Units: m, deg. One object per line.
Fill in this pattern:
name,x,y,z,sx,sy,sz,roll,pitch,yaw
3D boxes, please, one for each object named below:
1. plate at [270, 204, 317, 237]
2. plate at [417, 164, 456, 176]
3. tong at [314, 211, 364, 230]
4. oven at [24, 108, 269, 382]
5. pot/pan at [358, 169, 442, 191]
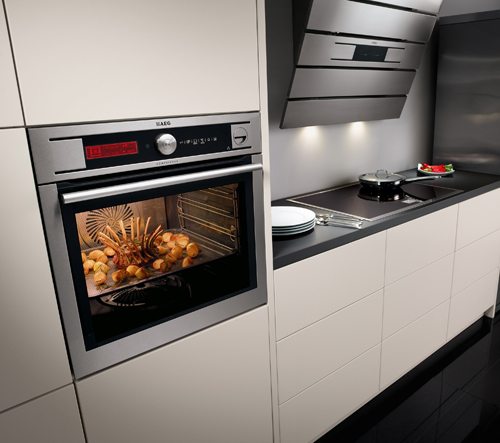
plate,0.183,-0.011,1.680,0.145,0.025,0.143,8,19,31
plate,1.257,-0.347,2.632,0.163,0.054,0.127,9,23,25
tong,0.386,-0.002,1.730,0.130,0.016,0.091,12,30,32
oven,-0.329,0.004,1.276,0.657,0.670,0.448,-14,20,-35
pot/pan,0.794,-0.227,2.128,0.211,0.089,0.404,-19,23,-41
